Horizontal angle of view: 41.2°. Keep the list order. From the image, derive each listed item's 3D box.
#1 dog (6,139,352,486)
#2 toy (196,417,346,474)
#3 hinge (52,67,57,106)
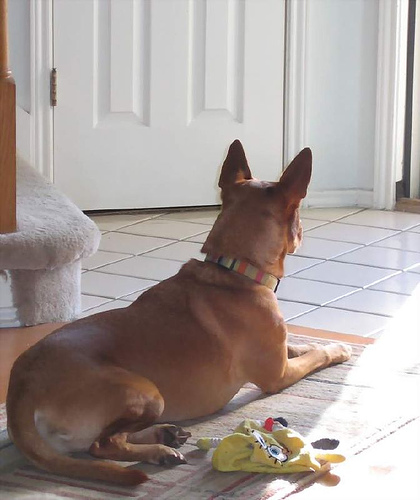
[{"bbox_3d":[-0.049,0.064,0.846,0.220,0.461,0.468,12,14,34],"label":"dog"},{"bbox_3d":[0.088,0.285,0.810,0.119,0.029,0.098,0,-1,-5],"label":"toy"},{"bbox_3d":[-0.695,-0.732,2.524,0.018,0.162,0.026,3,12,-7],"label":"hinge"}]
